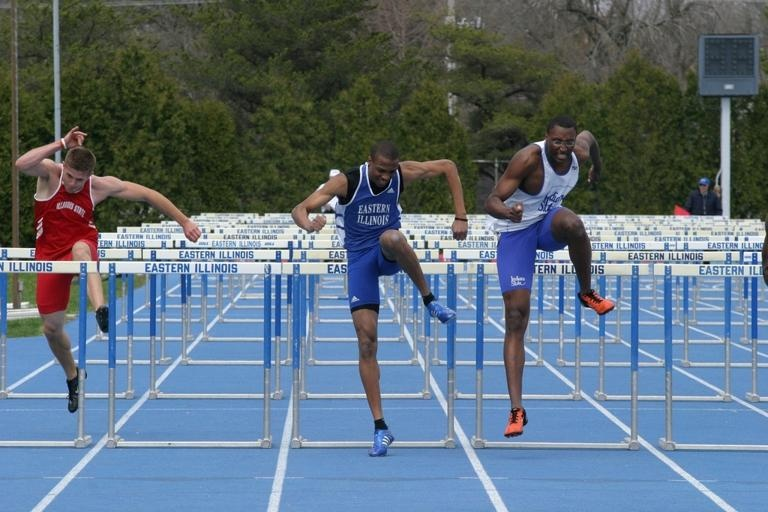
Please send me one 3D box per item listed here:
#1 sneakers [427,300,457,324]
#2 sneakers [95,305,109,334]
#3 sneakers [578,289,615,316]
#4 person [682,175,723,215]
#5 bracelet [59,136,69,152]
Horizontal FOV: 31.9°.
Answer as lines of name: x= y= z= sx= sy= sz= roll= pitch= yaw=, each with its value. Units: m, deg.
sneakers: x=0.922 y=0.911 z=21.172 sx=0.484 sy=0.219 sz=0.265 roll=34 pitch=31 yaw=-26
sneakers: x=-4.461 y=1.028 z=21.383 sx=0.215 sy=0.422 sz=0.183 roll=-14 pitch=12 yaw=-38
sneakers: x=3.399 y=0.714 z=21.237 sx=0.278 sy=0.291 sz=0.647 roll=-44 pitch=34 yaw=-19
person: x=8.126 y=-1.377 z=34.045 sx=1.054 sy=1.037 sz=0.563 roll=1 pitch=6 yaw=1
bracelet: x=-5.164 y=-1.787 z=21.685 sx=0.155 sy=0.204 sz=0.180 roll=-5 pitch=-14 yaw=10
